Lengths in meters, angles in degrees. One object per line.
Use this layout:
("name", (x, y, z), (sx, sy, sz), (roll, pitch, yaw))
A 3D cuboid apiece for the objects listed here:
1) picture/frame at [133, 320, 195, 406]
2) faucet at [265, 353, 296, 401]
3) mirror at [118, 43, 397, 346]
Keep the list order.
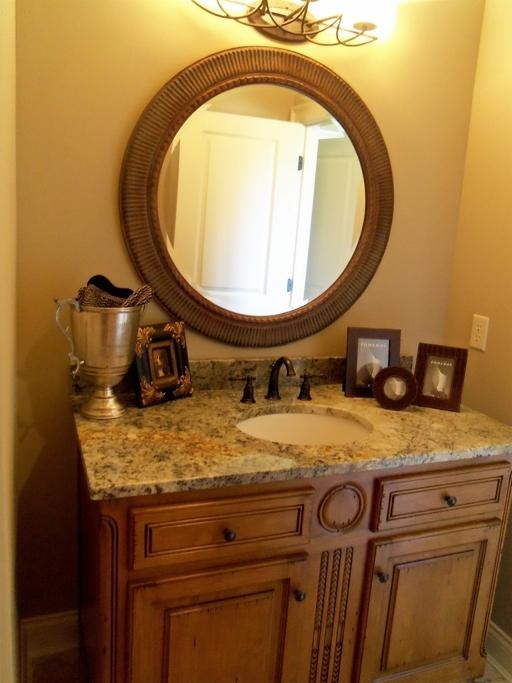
("picture/frame", (-0.247, 0.061, 1.442), (0.031, 0.226, 0.208), (1, 7, 41))
("faucet", (0.065, 0.098, 1.605), (0.071, 0.139, 0.194), (3, 17, 0))
("mirror", (0.057, -0.429, 1.576), (0.818, 0.808, 0.023), (-4, 5, -21))
